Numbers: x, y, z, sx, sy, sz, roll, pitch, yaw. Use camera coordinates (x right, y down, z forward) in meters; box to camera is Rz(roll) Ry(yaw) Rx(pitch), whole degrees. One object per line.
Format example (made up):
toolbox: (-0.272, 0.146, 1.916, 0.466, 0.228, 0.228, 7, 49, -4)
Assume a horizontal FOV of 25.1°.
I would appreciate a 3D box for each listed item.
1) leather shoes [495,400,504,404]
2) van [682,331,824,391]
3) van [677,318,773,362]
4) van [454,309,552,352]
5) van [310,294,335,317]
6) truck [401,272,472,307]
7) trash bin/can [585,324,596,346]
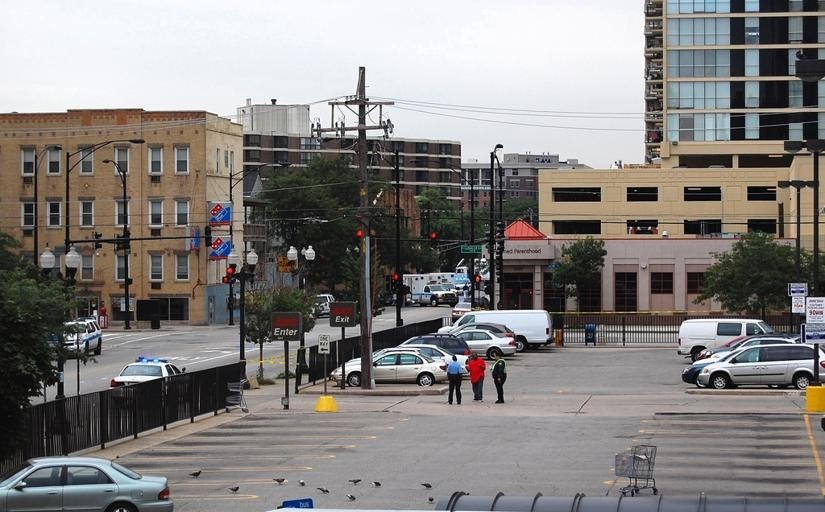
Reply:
leather shoes: (5.615, 9.399, 119.074, 0.604, 0.192, 0.185, 2, 1, 9)
van: (22.395, 7.200, 120.991, 8.297, 2.260, 3.385, 0, -2, 11)
van: (21.943, 5.952, 131.588, 5.876, 1.998, 3.025, 0, 0, 6)
van: (6.849, 5.449, 137.819, 6.938, 1.927, 2.963, 1, 0, 1)
van: (-7.490, 4.409, 163.484, 2.225, 1.573, 3.658, -1, -5, 1)
truck: (2.580, 3.352, 183.918, 3.891, 2.005, 4.754, 1, -3, -28)
trash bin/can: (13.685, 6.171, 143.003, 0.731, 1.703, 0.907, -3, 0, 10)
